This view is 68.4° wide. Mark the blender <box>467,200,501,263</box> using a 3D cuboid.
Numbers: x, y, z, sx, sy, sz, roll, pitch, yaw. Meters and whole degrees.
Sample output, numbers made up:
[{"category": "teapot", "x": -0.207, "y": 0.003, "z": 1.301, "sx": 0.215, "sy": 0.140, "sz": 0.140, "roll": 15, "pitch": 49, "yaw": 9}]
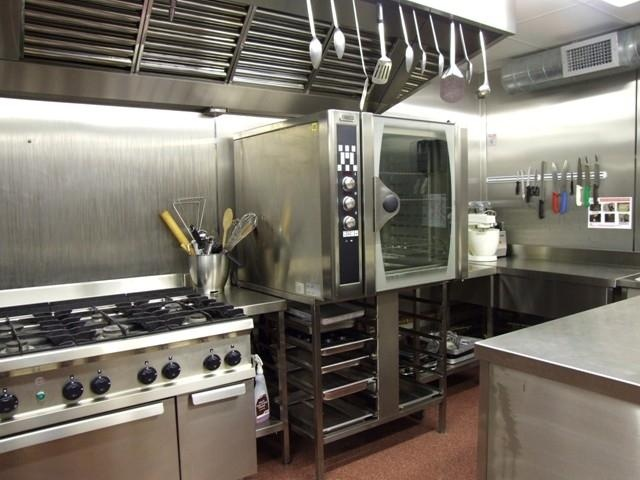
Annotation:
[{"category": "blender", "x": 1.193, "y": -0.044, "z": 3.562, "sx": 0.239, "sy": 0.368, "sz": 0.344, "roll": -4, "pitch": 8, "yaw": -31}]

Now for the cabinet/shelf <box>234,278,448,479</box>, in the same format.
[{"category": "cabinet/shelf", "x": 0.220, "y": 0.608, "z": 2.948, "sx": 1.222, "sy": 1.166, "sz": 0.931, "roll": -5, "pitch": 9, "yaw": -38}]

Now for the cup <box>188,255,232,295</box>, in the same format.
[{"category": "cup", "x": -0.593, "y": 0.189, "z": 2.532, "sx": 0.212, "sy": 0.186, "sz": 0.188, "roll": 0, "pitch": 2, "yaw": 13}]

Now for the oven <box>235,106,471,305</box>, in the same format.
[{"category": "oven", "x": 0.183, "y": -0.206, "z": 2.725, "sx": 1.152, "sy": 0.963, "sz": 0.993, "roll": -6, "pitch": 8, "yaw": -44}]
